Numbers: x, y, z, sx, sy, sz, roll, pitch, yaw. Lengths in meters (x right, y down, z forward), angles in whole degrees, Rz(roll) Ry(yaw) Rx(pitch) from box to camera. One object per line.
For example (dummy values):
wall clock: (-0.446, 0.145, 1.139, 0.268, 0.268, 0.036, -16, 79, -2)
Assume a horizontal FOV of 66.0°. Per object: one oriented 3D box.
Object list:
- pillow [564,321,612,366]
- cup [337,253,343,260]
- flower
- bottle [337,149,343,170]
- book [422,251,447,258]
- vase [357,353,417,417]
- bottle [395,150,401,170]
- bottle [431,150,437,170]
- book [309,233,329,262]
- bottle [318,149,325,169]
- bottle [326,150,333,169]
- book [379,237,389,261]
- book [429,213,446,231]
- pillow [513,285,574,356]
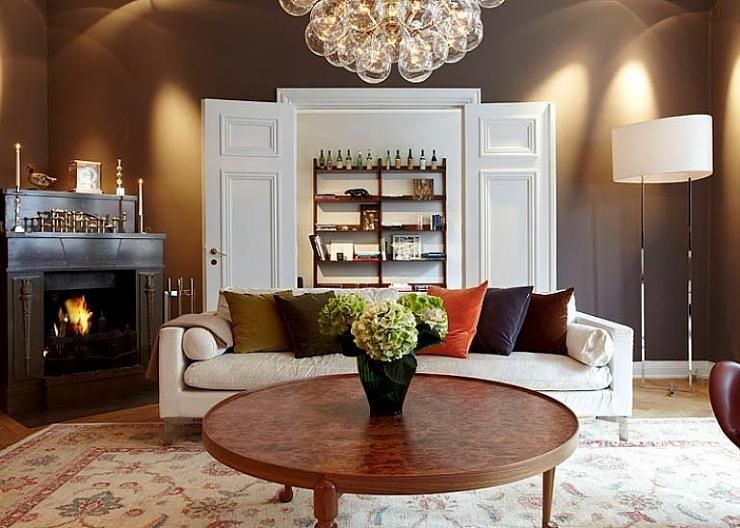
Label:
pillow: (1.640, 0.629, 4.293, 0.243, 0.230, 0.329, 12, 0, 7)
cup: (-0.381, -0.088, 7.335, 0.101, 0.104, 0.072, 0, -7, 1)
flower: (0.072, 0.355, 3.241, 0.725, 0.363, 0.302, -2, 3, 2)
bottle: (-0.399, -1.358, 7.422, 0.090, 0.278, 0.261, -2, 3, -3)
book: (0.835, -0.114, 7.446, 0.315, 0.083, 0.262, -1, 3, 3)
vase: (0.057, 0.679, 3.241, 0.310, 0.366, 0.327, 2, -10, -12)
bottle: (0.371, -1.353, 7.408, 0.082, 0.277, 0.315, -1, 3, 5)
bottle: (0.846, -1.356, 7.451, 0.086, 0.296, 0.297, -1, 3, 7)
book: (-0.648, -0.210, 7.296, 0.078, 0.310, 0.291, -13, 3, 2)
bottle: (-0.625, -1.357, 7.420, 0.088, 0.276, 0.258, -2, 3, -5)
bottle: (-0.514, -1.360, 7.431, 0.086, 0.276, 0.252, -2, 3, -4)
book: (0.189, -0.194, 7.381, 0.096, 0.297, 0.230, -1, 3, 2)
book: (0.865, -0.513, 7.363, 0.243, 0.248, 0.180, 0, 0, -5)
pillow: (1.345, 0.461, 4.455, 0.366, 0.448, 0.228, 15, -5, 11)
